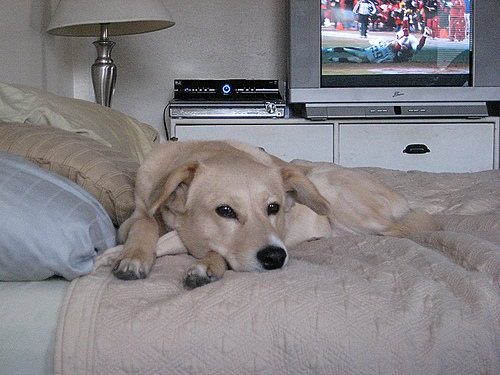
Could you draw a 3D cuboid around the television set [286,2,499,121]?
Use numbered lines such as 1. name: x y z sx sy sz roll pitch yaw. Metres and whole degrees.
1. television set: 1.115 -0.658 3.486 1.591 1.176 0.866 -1 4 0
